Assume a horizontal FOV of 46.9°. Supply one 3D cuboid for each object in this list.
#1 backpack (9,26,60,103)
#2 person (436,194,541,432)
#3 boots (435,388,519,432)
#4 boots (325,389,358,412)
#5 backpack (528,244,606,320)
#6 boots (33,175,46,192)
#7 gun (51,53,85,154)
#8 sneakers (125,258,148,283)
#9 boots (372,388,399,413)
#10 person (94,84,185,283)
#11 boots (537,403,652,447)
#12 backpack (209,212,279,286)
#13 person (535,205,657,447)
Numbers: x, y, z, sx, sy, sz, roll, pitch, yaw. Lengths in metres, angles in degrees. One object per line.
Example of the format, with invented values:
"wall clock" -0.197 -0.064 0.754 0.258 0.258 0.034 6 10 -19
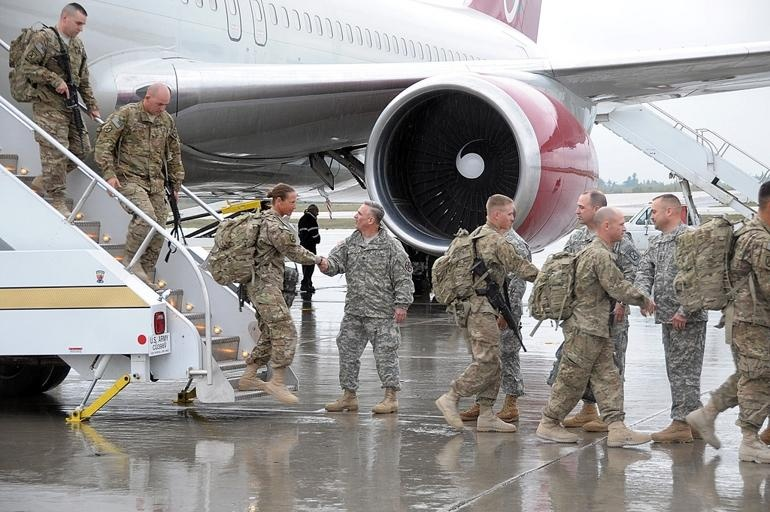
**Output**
"backpack" -3.117 -1.688 7.748 0.474 0.701 0.254 -13 -17 41
"person" 0.822 0.452 6.983 0.876 1.853 0.595 -8 -15 26
"boots" 0.822 1.243 7.018 0.840 0.333 0.253 2 -2 -8
"boots" -0.353 1.247 7.562 0.376 0.236 0.120 3 -3 2
"backpack" 1.296 0.239 6.581 0.610 0.524 0.370 1 -1 5
"boots" -2.996 -0.619 7.689 0.105 0.133 0.191 4 -14 -23
"gun" -2.754 -1.349 7.866 0.168 0.879 0.340 -7 2 -26
"sneakers" -2.043 0.119 7.392 0.117 0.131 0.475 22 3 2
"boots" 0.043 1.238 7.514 0.344 0.219 0.168 9 -17 -41
"person" -2.073 -0.567 7.733 0.630 1.752 0.800 -4 -13 9
"boots" 1.519 1.244 6.553 0.870 0.301 0.289 -1 -3 15
"backpack" -1.196 -0.075 7.272 0.577 0.597 0.213 -6 -14 18
"person" 1.532 0.516 6.595 0.892 1.774 0.530 -4 -13 10
